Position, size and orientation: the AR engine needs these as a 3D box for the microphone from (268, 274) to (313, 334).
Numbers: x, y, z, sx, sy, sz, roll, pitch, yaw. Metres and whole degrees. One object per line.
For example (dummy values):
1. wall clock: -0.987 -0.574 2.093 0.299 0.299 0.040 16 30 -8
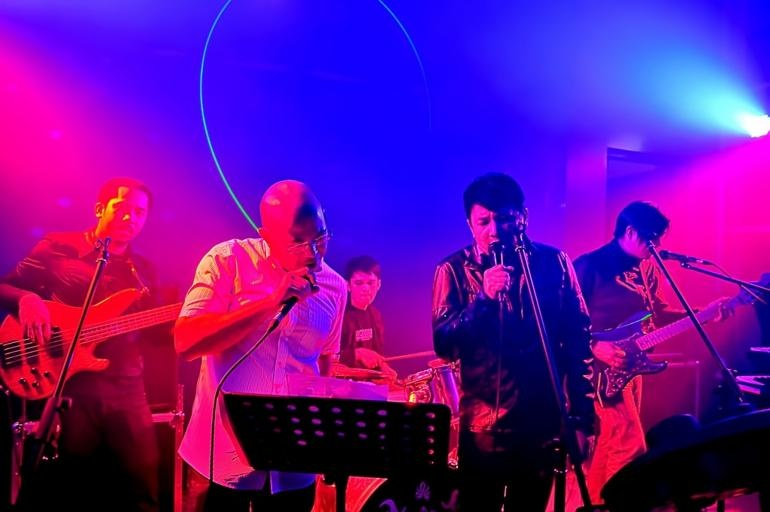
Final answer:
1. microphone: -0.506 0.242 3.351 0.063 0.433 0.060 15 -45 27

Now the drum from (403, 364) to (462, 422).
1. drum: 0.311 0.882 4.257 0.386 0.380 0.292 -5 1 2
